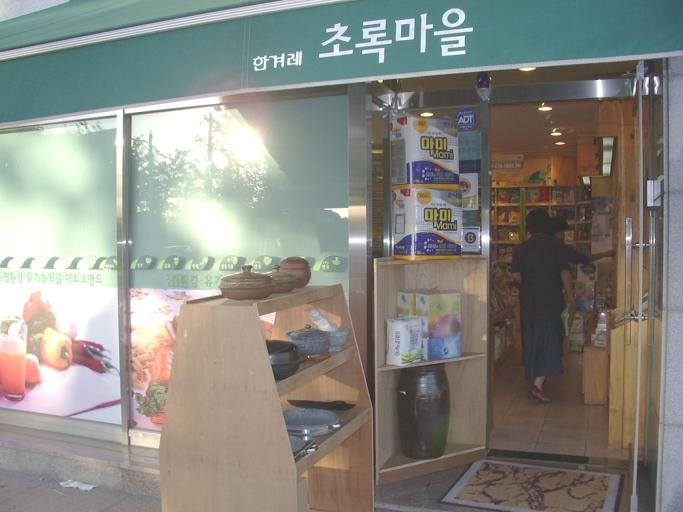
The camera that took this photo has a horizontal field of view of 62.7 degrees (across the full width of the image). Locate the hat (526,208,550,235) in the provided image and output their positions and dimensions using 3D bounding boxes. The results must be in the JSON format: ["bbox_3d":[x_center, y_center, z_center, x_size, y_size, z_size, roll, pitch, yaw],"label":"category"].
[{"bbox_3d":[1.933,-0.342,5.515,0.213,0.297,0.246,-2,-5,16],"label":"hat"}]

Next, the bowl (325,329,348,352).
[{"bbox_3d":[-0.019,0.501,3.332,0.123,0.100,0.124,0,-6,0],"label":"bowl"}]

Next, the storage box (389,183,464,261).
[{"bbox_3d":[0.605,-0.249,3.943,0.484,0.521,0.196,-4,0,7],"label":"storage box"}]

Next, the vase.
[{"bbox_3d":[0.593,1.067,4.201,0.501,0.805,0.545,-1,13,2],"label":"vase"}]

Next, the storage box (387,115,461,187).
[{"bbox_3d":[0.592,-0.735,4.099,0.292,0.495,0.540,2,6,44],"label":"storage box"}]

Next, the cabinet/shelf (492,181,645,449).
[{"bbox_3d":[2.284,0.646,5.663,0.680,2.053,2.171,-3,-19,12],"label":"cabinet/shelf"}]

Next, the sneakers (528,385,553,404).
[{"bbox_3d":[1.995,1.383,5.616,0.084,0.096,0.238,20,-5,-26],"label":"sneakers"}]

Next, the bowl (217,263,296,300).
[{"bbox_3d":[-0.466,0.139,2.937,0.269,0.107,0.210,-1,2,20],"label":"bowl"}]

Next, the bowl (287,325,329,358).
[{"bbox_3d":[-0.183,0.473,3.181,0.166,0.125,0.170,-1,0,0],"label":"bowl"}]
